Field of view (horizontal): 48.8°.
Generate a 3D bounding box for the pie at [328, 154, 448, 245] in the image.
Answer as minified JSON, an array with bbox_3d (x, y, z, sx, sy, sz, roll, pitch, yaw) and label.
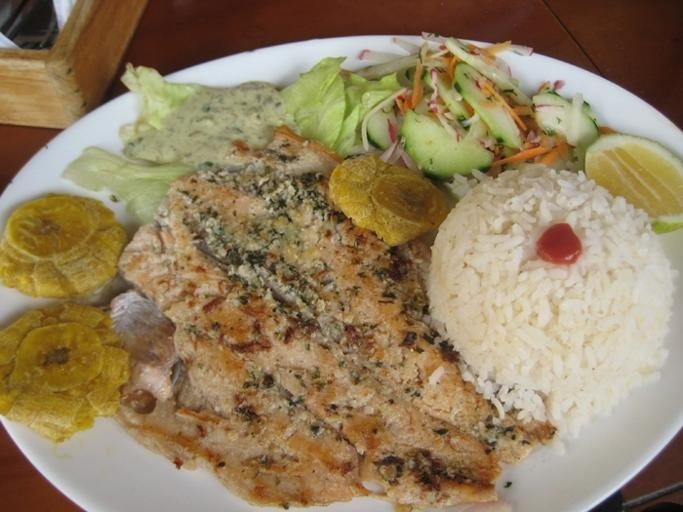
[{"bbox_3d":[0.301,-0.355,4.894,0.773,0.309,0.489,28,84,2],"label":"pie"}]
